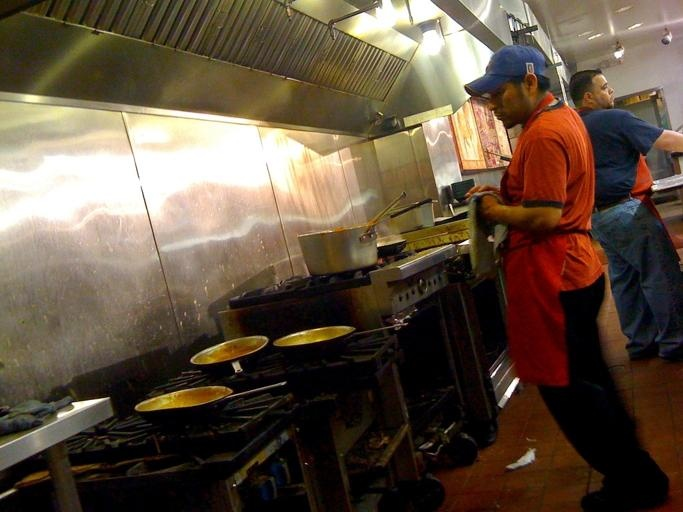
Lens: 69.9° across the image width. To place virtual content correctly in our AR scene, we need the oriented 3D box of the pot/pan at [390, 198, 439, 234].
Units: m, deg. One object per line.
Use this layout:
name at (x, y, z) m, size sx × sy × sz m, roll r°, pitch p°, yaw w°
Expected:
pot/pan at (0.561, -0.298, 3.742) m, size 0.308 × 0.183 × 0.239 m, roll -24°, pitch 0°, yaw 23°

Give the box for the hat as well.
hat at (0.652, -0.699, 1.908) m, size 0.297 × 0.145 × 0.182 m, roll -7°, pitch 15°, yaw 2°

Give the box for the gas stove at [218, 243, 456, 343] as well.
gas stove at (0.094, 0.227, 2.950) m, size 1.184 × 0.288 × 1.318 m, roll -12°, pitch 1°, yaw 31°

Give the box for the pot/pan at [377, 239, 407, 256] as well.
pot/pan at (0.308, -0.044, 2.977) m, size 0.161 × 0.053 × 0.116 m, roll -13°, pitch -3°, yaw 7°

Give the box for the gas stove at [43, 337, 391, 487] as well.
gas stove at (-0.385, 0.417, 1.781) m, size 0.528 × 0.148 × 0.911 m, roll 1°, pitch 9°, yaw 32°

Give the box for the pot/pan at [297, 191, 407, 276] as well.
pot/pan at (0.070, -0.115, 2.617) m, size 0.584 × 0.358 × 0.351 m, roll -2°, pitch 1°, yaw 22°
